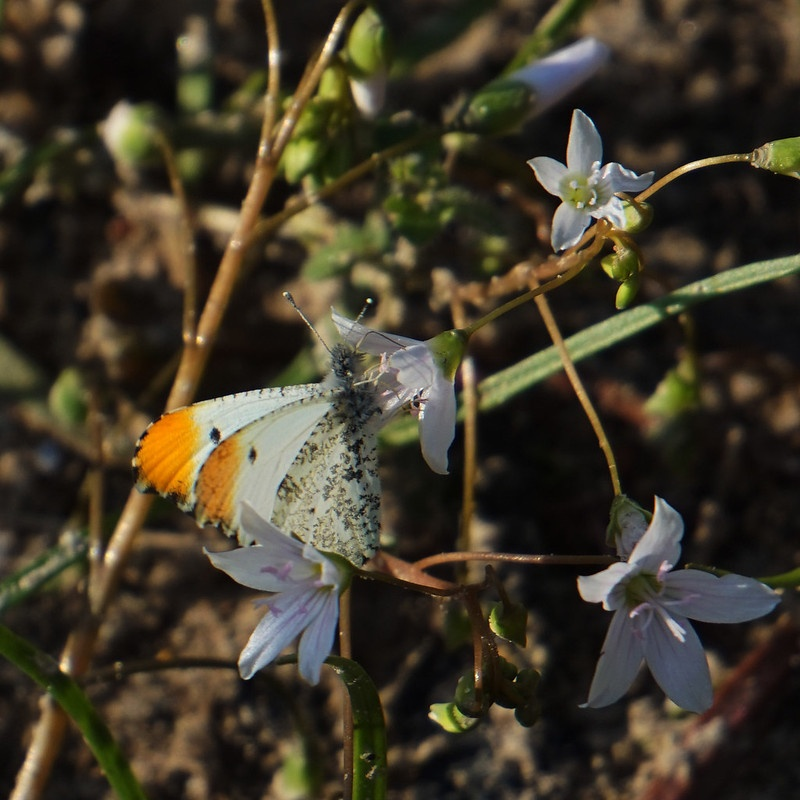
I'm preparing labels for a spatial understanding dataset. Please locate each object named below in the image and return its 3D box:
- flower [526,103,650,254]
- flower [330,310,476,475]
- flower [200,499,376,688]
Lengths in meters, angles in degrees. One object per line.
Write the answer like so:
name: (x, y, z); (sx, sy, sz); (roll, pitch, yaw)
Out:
flower: (0.398, -0.516, 2.624); (0.103, 0.227, 0.189); (11, 73, 29)
flower: (0.040, -0.057, 2.607); (0.341, 0.342, 0.234); (43, 116, 15)
flower: (-0.226, 0.419, 2.435); (0.167, 0.364, 0.354); (-23, 58, -24)
